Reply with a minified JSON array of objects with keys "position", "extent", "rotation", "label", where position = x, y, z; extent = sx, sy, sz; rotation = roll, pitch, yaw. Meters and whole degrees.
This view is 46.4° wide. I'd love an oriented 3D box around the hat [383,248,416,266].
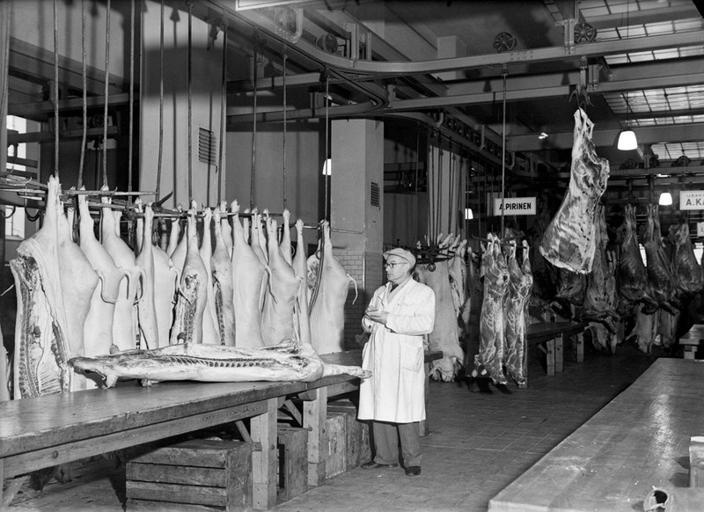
[{"position":[0.432,-0.028,7.077],"extent":[0.197,0.080,0.170],"rotation":[15,-16,-4],"label":"hat"}]
